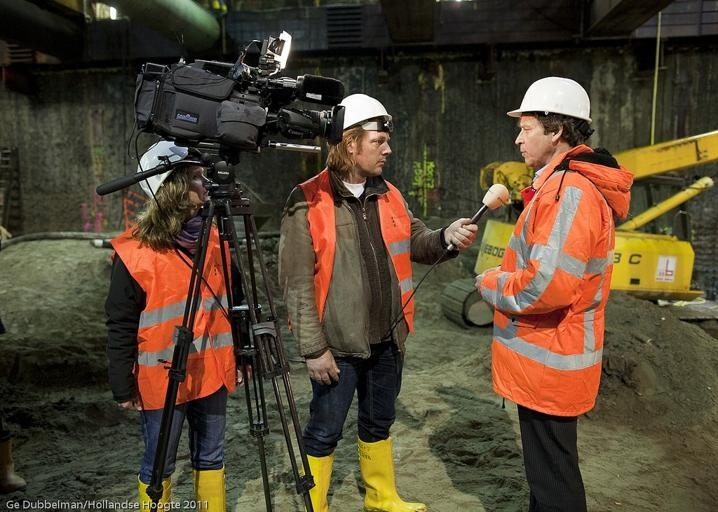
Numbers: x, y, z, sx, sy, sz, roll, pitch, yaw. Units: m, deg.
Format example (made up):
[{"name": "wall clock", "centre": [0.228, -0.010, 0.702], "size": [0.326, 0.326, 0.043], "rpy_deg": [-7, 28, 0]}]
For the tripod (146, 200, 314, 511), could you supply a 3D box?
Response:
[{"name": "tripod", "centre": [-1.171, 1.047, 7.207], "size": [1.469, 3.290, 1.170], "rpy_deg": [0, 4, -4]}]

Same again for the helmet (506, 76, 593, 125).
[{"name": "helmet", "centre": [1.870, -1.479, 7.148], "size": [0.540, 0.308, 0.440], "rpy_deg": [15, 11, 2]}]

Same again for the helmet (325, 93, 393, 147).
[{"name": "helmet", "centre": [-0.010, -1.297, 7.150], "size": [0.526, 0.484, 0.425], "rpy_deg": [17, 9, 7]}]
